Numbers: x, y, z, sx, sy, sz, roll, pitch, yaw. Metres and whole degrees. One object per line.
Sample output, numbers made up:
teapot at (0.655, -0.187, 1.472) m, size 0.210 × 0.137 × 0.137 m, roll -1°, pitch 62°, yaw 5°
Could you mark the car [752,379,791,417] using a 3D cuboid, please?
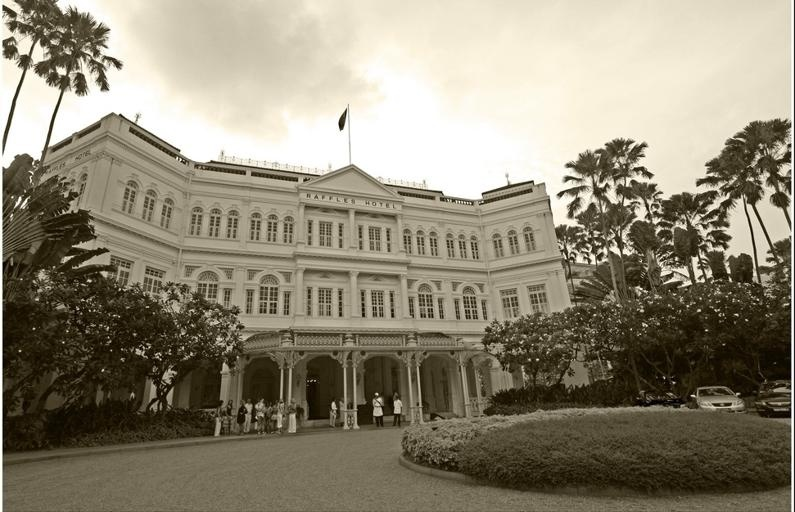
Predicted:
car at (18.272, 7.024, 22.786) m, size 1.282 × 0.989 × 2.925 m, roll -9°, pitch -30°, yaw 25°
